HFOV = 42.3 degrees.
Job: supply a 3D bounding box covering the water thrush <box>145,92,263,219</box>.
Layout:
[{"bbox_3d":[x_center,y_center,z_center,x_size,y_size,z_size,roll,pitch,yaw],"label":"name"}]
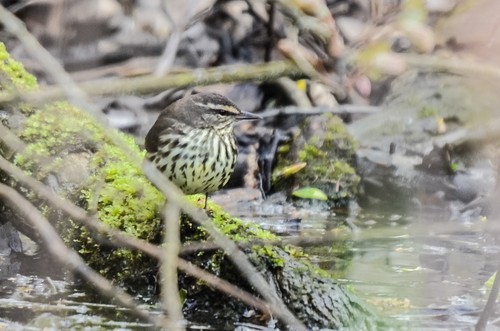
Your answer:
[{"bbox_3d":[-0.420,-0.134,4.736,1.085,0.769,0.725,9,6,37],"label":"water thrush"}]
